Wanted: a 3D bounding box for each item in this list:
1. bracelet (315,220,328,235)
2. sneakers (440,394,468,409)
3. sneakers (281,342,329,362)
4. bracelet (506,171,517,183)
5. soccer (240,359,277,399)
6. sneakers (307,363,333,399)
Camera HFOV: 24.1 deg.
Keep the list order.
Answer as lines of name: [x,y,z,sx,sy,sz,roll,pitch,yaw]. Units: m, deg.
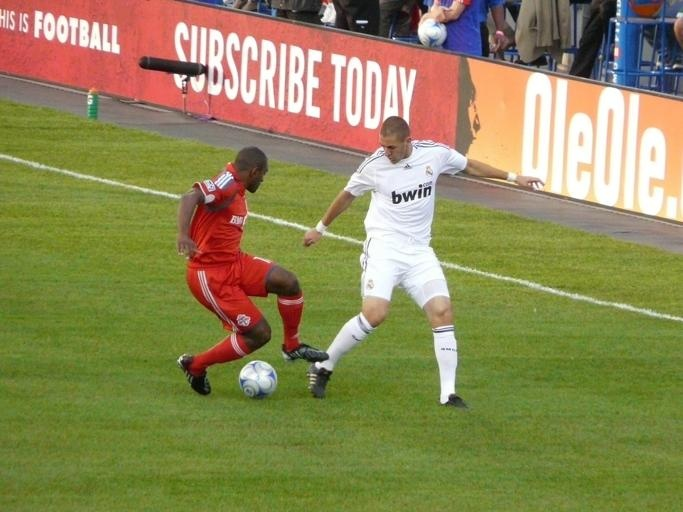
bracelet: [-0.208,-0.303,17.207,0.103,0.111,0.122,-30,17,40]
sneakers: [1.129,1.463,15.974,0.236,0.095,0.125,0,3,-21]
sneakers: [-0.348,0.992,16.379,0.501,0.183,0.187,-6,1,38]
bracelet: [1.788,-0.824,16.759,0.108,0.057,0.136,8,1,3]
soccer: [-0.824,1.250,16.205,0.398,0.362,0.365,-3,48,-2]
sneakers: [-0.228,1.271,16.191,0.226,0.420,0.156,-22,-25,36]
